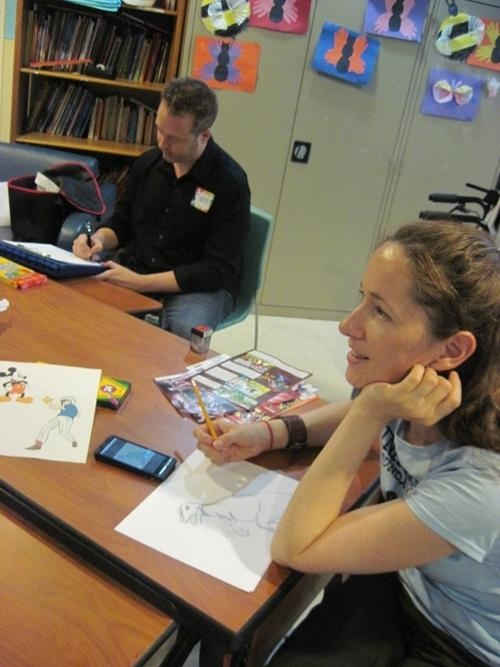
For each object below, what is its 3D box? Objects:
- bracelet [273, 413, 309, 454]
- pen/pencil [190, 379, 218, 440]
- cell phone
[{"bbox_3d":[0.092,0.204,1.105,0.061,0.064,0.075,-2,11,-27],"label":"bracelet"},{"bbox_3d":[-0.096,0.159,1.113,0.013,0.114,0.012,-20,-14,-5],"label":"pen/pencil"},{"bbox_3d":[-0.202,0.218,0.957,0.122,0.018,0.063,16,26,17],"label":"cell phone"}]
